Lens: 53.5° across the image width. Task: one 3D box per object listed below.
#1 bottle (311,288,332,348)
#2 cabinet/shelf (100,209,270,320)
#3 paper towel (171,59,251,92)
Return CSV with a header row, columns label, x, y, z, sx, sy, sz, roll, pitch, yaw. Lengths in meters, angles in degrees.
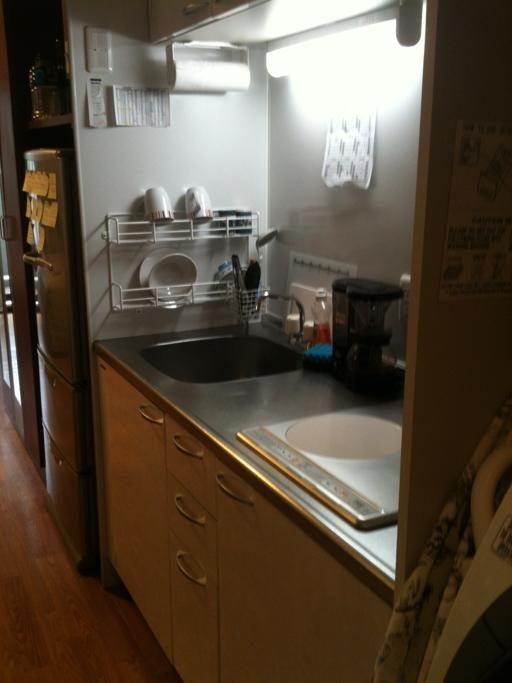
label,x,y,z,sx,sy,sz,roll,pitch,yaw
bottle,0.220,-0.086,1.734,0.061,0.174,0.154,1,11,7
cabinet/shelf,-0.269,-0.301,1.936,0.612,0.372,0.162,-6,11,-27
paper towel,-0.156,-0.927,1.777,0.281,0.100,0.067,-7,12,-25
